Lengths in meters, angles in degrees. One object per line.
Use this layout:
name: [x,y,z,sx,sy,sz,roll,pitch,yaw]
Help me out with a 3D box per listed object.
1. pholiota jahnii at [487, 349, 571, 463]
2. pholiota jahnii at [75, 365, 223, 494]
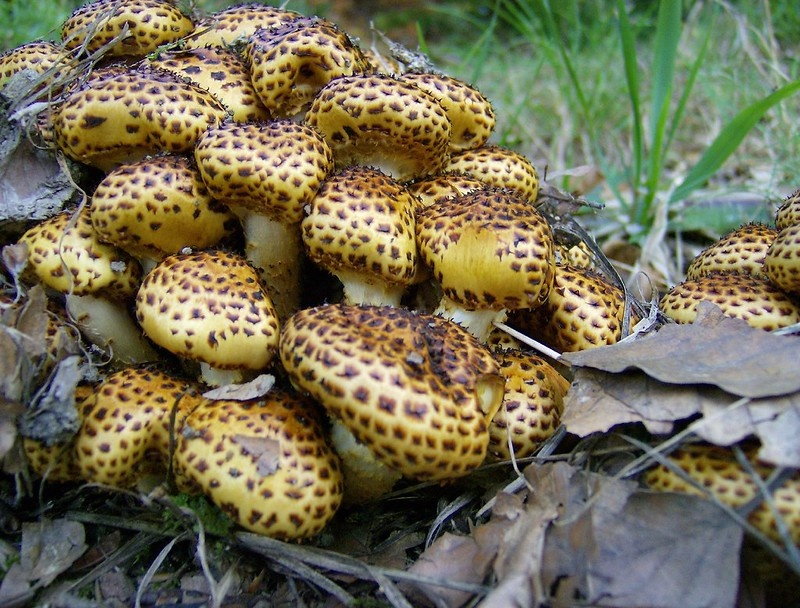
pholiota jahnii: [0.575,0.421,3.340,0.397,0.239,0.408,24,32,12]
pholiota jahnii: [-1.107,0.504,3.166,0.498,0.287,0.524,-2,51,-34]
